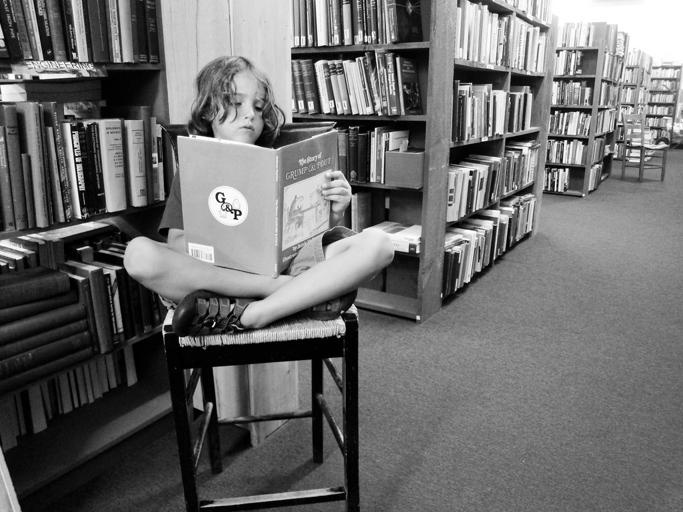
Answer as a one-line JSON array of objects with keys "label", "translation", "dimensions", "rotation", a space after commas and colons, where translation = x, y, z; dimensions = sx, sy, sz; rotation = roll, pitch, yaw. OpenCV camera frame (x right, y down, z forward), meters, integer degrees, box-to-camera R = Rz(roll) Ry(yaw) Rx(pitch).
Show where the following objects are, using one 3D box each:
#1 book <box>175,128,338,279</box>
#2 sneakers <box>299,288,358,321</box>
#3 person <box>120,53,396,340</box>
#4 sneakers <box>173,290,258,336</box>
[{"label": "book", "translation": [-0.247, -0.168, 1.521], "dimensions": [0.356, 0.331, 0.330], "rotation": [7, 21, 11]}, {"label": "sneakers", "translation": [-0.027, 0.144, 1.500], "dimensions": [0.115, 0.050, 0.093], "rotation": [-34, -10, -21]}, {"label": "person", "translation": [-0.254, -0.214, 1.618], "dimensions": [0.723, 0.803, 0.584], "rotation": [-3, 1, -17]}, {"label": "sneakers", "translation": [-0.349, 0.146, 1.432], "dimensions": [0.220, 0.081, 0.127], "rotation": [-5, 28, 15]}]
